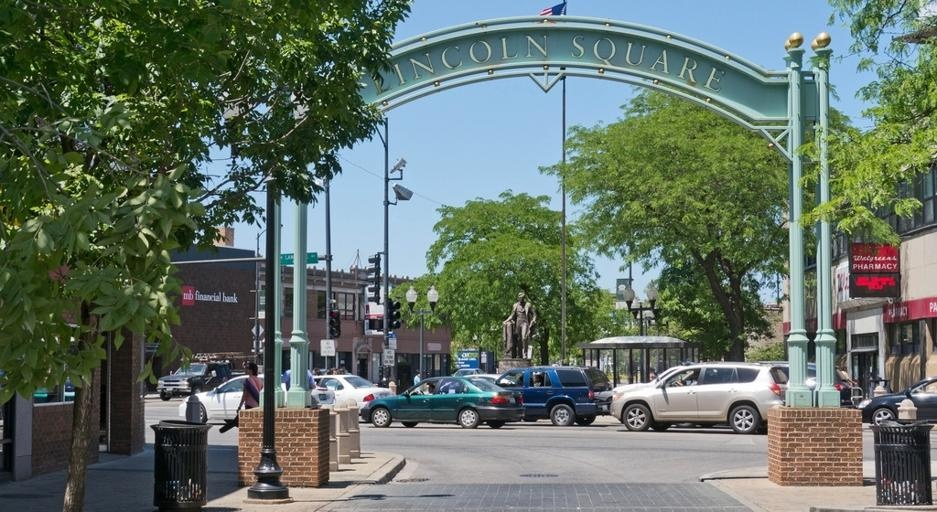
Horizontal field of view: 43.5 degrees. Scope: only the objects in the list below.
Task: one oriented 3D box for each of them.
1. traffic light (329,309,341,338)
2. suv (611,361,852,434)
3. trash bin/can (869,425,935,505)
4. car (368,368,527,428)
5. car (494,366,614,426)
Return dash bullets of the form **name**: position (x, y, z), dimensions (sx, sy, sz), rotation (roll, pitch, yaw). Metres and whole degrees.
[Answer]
- **traffic light**: position (-5.514, 2.786, 48.714), dimensions (0.407, 1.110, 0.910), rotation (2, -12, -15)
- **suv**: position (7.675, 4.539, 38.224), dimensions (6.326, 2.101, 2.935), rotation (-1, -5, 27)
- **trash bin/can**: position (8.542, 4.102, 23.080), dimensions (1.076, 1.669, 0.472), rotation (-5, -12, 19)
- **car**: position (-0.771, 4.922, 40.765), dimensions (4.856, 1.520, 2.088), rotation (1, -6, 14)
- **car**: position (3.171, 5.221, 40.627), dimensions (5.976, 2.586, 2.798), rotation (-1, -2, 9)
